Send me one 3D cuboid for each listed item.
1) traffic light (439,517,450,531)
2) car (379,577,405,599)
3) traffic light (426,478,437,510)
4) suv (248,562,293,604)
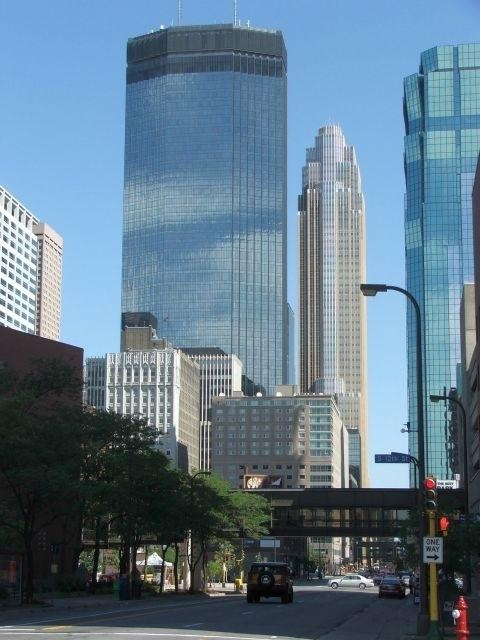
[{"bbox_3d":[5.488,5.556,29.796,0.231,0.420,1.064,-3,-15,8],"label":"traffic light"},{"bbox_3d":[10.114,18.050,73.737,1.567,1.454,2.805,-5,-15,14],"label":"car"},{"bbox_3d":[5.070,4.687,29.434,0.304,0.896,1.026,-3,-14,9],"label":"traffic light"},{"bbox_3d":[1.443,12.754,53.215,1.332,1.571,2.755,0,-9,7],"label":"suv"}]
